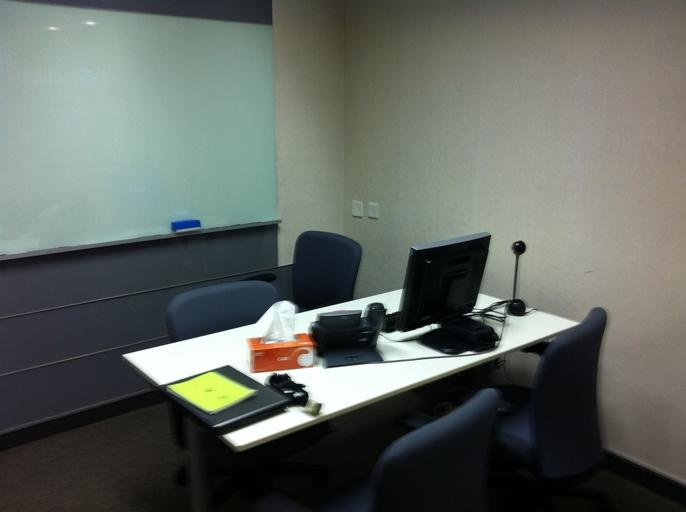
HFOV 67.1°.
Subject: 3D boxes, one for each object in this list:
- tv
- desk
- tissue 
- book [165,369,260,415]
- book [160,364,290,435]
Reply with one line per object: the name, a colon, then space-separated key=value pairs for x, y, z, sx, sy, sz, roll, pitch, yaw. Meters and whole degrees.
tv: x=0.591 y=0.178 z=2.681 sx=0.615 sy=0.541 sz=0.390 roll=-11 pitch=10 yaw=-39
desk: x=-0.126 y=0.516 z=2.517 sx=1.874 sy=0.910 sz=0.943 roll=-8 pitch=13 yaw=-35
tissue : x=-0.298 y=0.374 z=2.466 sx=0.307 sy=0.294 sz=0.159 roll=-4 pitch=12 yaw=-15
book: x=-0.577 y=0.581 z=2.233 sx=0.280 sy=0.050 sz=0.376 roll=18 pitch=4 yaw=32
book: x=-0.482 y=0.552 z=2.234 sx=0.531 sy=0.132 sz=0.676 roll=4 pitch=9 yaw=-21
